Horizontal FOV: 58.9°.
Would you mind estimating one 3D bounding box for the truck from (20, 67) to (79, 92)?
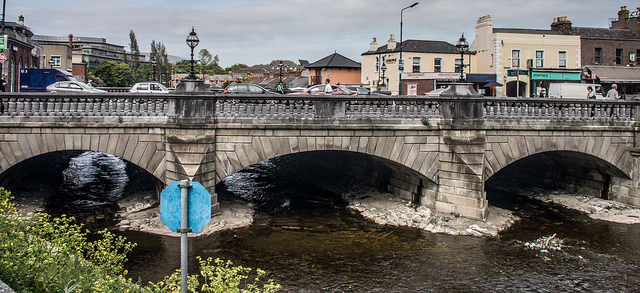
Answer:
[{"bbox_3d":[-29.354,-7.454,61.235,6.001,2.467,3.216,0,3,-7],"label":"truck"}]

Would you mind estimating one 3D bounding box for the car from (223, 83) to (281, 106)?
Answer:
[{"bbox_3d":[-7.174,-4.920,55.503,6.443,1.770,2.703,-1,7,-8],"label":"car"}]

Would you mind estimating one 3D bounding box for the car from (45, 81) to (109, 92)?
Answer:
[{"bbox_3d":[-24.163,-5.751,54.382,4.904,1.311,2.055,-1,7,-13],"label":"car"}]

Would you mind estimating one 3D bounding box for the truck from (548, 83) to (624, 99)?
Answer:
[{"bbox_3d":[28.695,-5.553,62.400,6.211,2.398,3.173,-1,7,3],"label":"truck"}]

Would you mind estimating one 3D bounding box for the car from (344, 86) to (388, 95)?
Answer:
[{"bbox_3d":[3.952,-5.620,57.467,3.179,0.850,1.266,0,9,6],"label":"car"}]

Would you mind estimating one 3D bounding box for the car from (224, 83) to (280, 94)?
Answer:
[{"bbox_3d":[-7.378,-5.689,55.627,5.208,1.392,2.191,-1,6,-9],"label":"car"}]

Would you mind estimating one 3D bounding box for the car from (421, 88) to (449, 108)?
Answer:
[{"bbox_3d":[11.430,-4.822,56.125,2.363,1.402,4.744,3,11,25],"label":"car"}]
